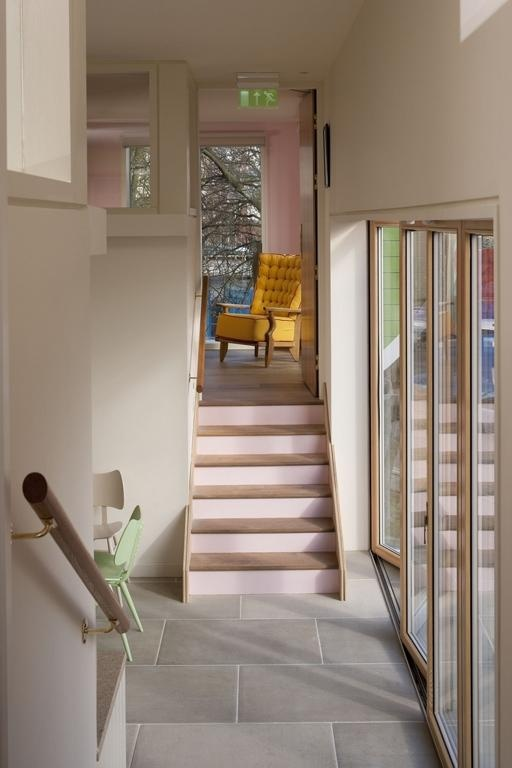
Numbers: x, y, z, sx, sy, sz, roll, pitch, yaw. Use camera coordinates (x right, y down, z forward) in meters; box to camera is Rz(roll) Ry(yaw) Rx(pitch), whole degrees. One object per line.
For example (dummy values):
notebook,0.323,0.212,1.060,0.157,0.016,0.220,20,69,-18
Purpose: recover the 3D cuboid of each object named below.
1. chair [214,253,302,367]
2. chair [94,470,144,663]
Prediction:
chair,0.094,-1.158,8.558,1.022,1.826,1.207,6,0,19
chair,-0.987,1.188,4.378,0.339,1.028,1.661,-1,4,-15
